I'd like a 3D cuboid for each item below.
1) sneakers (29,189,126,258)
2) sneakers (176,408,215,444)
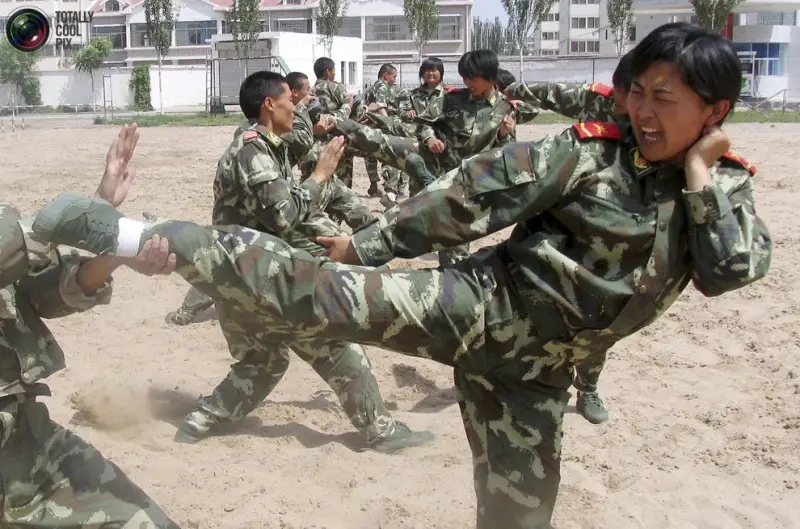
[{"bbox_3d":[-1.384,-0.162,3.255,0.359,0.226,0.166,12,-32,-3],"label":"sneakers"},{"bbox_3d":[-1.330,1.052,4.996,0.170,0.270,0.096,42,-6,1],"label":"sneakers"}]
